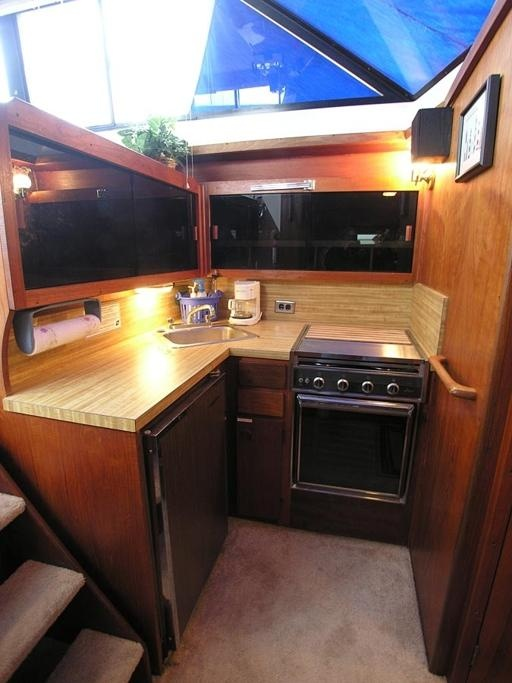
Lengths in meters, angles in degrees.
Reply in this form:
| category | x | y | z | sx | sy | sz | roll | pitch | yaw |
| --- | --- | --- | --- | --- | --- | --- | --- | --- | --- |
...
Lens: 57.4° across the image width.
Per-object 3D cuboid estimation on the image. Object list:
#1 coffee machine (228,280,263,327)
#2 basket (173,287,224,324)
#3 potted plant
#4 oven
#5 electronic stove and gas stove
| category | x | y | z | sx | sy | sz | roll | pitch | yaw |
| --- | --- | --- | --- | --- | --- | --- | --- | --- | --- |
| coffee machine | -0.061 | -0.224 | 2.591 | 0.146 | 0.226 | 0.192 | 9 | 20 | 21 |
| basket | -0.304 | -0.194 | 2.542 | 0.199 | 0.154 | 0.204 | 11 | 21 | 36 |
| potted plant | -0.472 | -0.898 | 2.152 | 0.256 | 0.157 | 0.261 | 22 | 12 | 21 |
| oven | 0.466 | 0.337 | 2.230 | 0.547 | 0.598 | 0.438 | 3 | 13 | 13 |
| electronic stove and gas stove | 0.448 | 0.122 | 2.073 | 0.556 | 0.199 | 0.273 | 5 | 14 | 13 |
